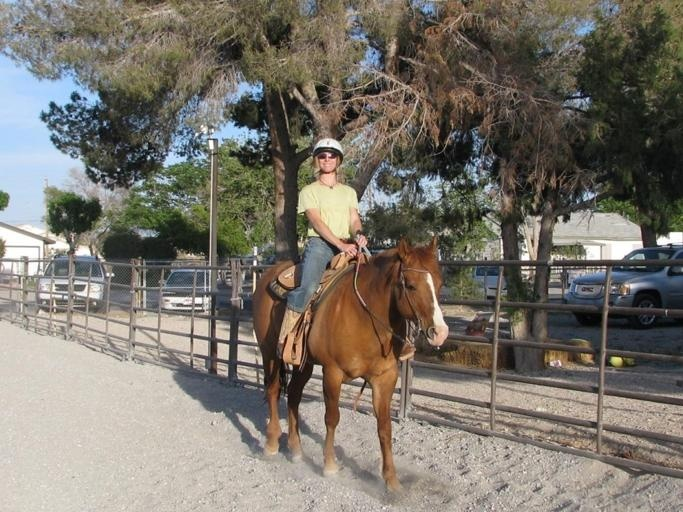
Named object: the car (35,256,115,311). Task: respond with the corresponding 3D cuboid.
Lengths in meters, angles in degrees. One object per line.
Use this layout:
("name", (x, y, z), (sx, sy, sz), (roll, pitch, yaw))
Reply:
("car", (-7.514, 0.783, 17.516), (1.296, 1.321, 2.538), (1, -8, -11))

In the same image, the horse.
("horse", (-0.084, 1.288, 7.398), (0.835, 2.682, 3.296), (1, -3, -41))

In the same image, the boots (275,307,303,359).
("boots", (-0.608, 0.895, 7.282), (0.188, 0.575, 0.514), (5, -4, -3))
